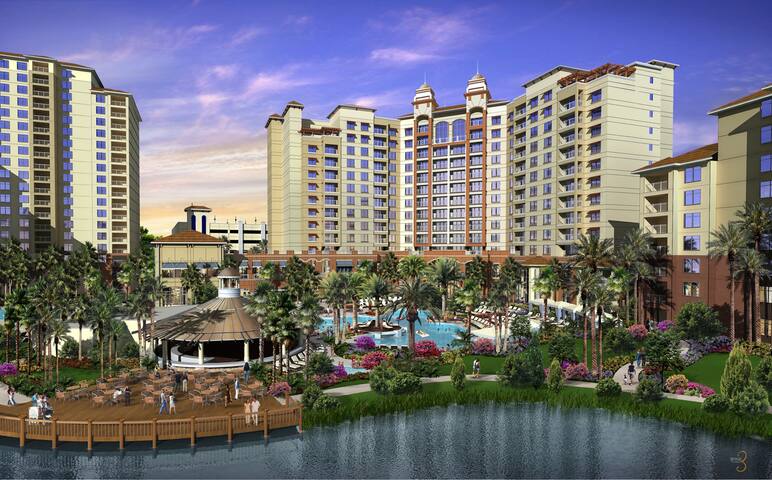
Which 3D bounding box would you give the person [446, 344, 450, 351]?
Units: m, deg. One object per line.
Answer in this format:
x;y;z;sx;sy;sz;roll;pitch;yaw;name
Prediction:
9.787;16.958;109.858;0.858;0.820;0.305;0;-7;-3;person
